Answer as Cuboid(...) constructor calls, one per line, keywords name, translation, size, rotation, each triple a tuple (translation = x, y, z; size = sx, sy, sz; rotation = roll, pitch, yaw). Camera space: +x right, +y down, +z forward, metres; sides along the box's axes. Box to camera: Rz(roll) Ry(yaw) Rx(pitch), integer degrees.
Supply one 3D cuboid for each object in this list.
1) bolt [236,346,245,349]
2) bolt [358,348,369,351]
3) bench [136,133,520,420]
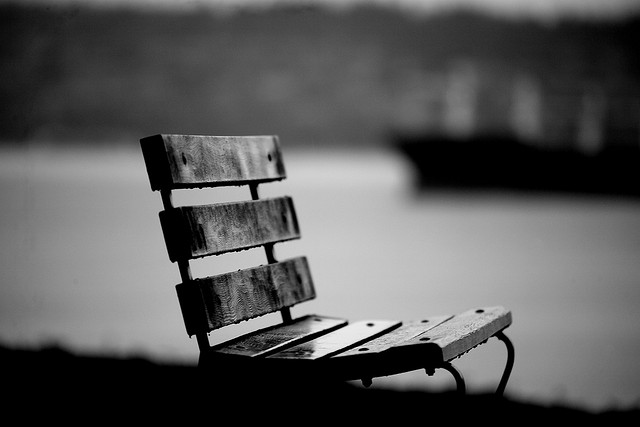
Cuboid(name="bolt", translation=(-0.323, 0.539, 3.124), size=(0.040, 0.002, 0.021), rotation=(2, 11, 28))
Cuboid(name="bolt", translation=(0.170, 0.522, 2.968), size=(0.038, 0.006, 0.033), rotation=(3, 11, 30))
Cuboid(name="bench", translation=(0.078, 0.285, 3.729), size=(1.622, 1.600, 1.493), rotation=(4, 2, 14))
